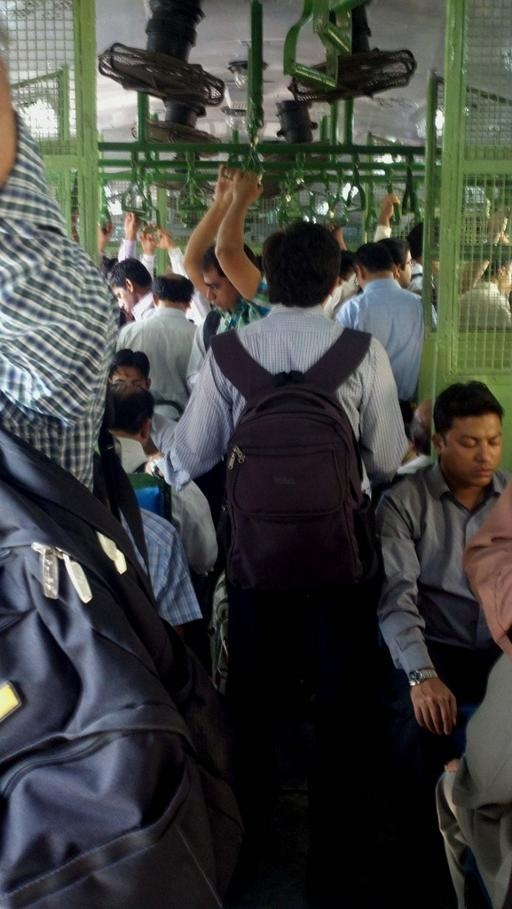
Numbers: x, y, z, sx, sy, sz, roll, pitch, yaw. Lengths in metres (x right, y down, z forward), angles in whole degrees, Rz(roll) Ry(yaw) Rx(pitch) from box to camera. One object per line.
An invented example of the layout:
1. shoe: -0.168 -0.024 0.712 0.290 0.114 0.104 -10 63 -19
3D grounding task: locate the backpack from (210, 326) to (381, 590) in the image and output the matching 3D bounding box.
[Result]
1. backpack: 0.130 0.025 1.856 0.506 0.761 0.409 -2 10 -6

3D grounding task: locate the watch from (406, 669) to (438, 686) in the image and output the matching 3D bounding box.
1. watch: 0.473 0.626 1.759 0.063 0.051 0.074 -8 -19 -5
